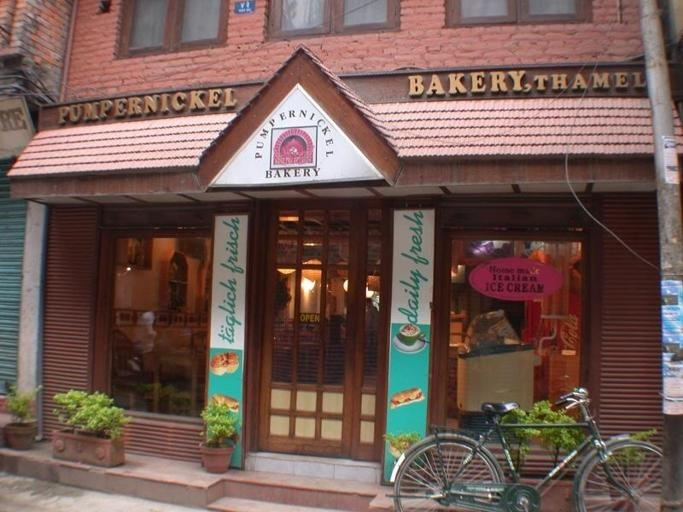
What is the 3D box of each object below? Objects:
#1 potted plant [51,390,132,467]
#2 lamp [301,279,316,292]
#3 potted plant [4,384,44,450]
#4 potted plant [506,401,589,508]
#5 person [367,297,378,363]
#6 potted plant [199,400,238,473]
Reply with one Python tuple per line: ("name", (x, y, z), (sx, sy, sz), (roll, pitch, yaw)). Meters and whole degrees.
("potted plant", (-3.519, 2.412, 10.442), (1.039, 0.923, 0.534), (3, -3, 21))
("lamp", (-0.483, 0.420, 10.574), (0.189, 0.172, 0.050), (30, 4, 14))
("potted plant", (-4.754, 2.403, 11.023), (0.465, 0.930, 0.570), (6, -13, -21))
("potted plant", (2.468, 2.438, 9.069), (1.179, 1.174, 0.979), (12, -24, -24))
("person", (0.436, 1.054, 10.340), (0.159, 0.897, 0.138), (1, -12, 1))
("potted plant", (-1.703, 2.485, 10.253), (0.555, 1.031, 0.446), (0, -12, 5))
